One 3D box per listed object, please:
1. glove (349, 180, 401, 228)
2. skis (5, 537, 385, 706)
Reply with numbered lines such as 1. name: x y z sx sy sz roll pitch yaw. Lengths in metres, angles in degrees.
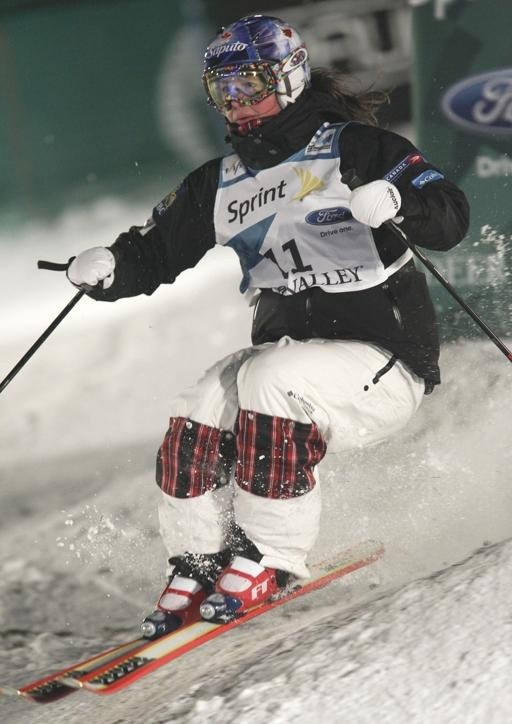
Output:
1. glove: 0.337 -0.454 2.299 0.170 0.061 0.124 -20 76 -5
2. skis: -0.170 0.802 2.404 0.897 0.031 0.200 -22 8 -30
